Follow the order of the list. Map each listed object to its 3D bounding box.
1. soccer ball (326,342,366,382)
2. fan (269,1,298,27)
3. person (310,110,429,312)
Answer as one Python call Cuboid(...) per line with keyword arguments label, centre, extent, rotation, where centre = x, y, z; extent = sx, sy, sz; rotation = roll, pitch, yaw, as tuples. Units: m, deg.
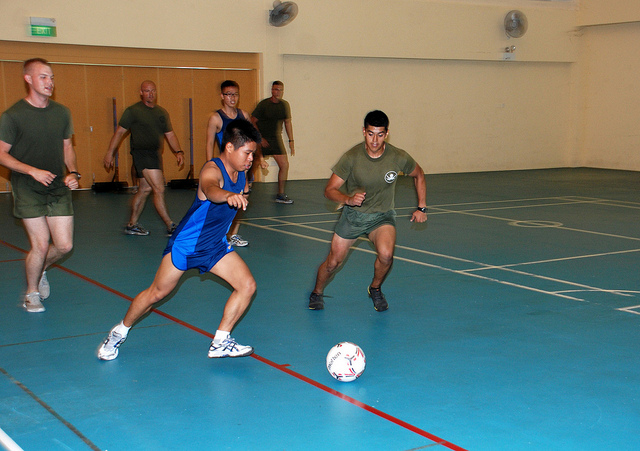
Cuboid(label="soccer ball", centre=(0.193, 1.022, 3.582), extent=(0.285, 0.268, 0.284), rotation=(2, -17, 1))
Cuboid(label="fan", centre=(-1.087, -6.126, 13.988), extent=(0.671, 0.349, 0.671), rotation=(-20, -28, 5))
Cuboid(label="person", centre=(0.546, -0.121, 5.008), extent=(1.112, 2.064, 0.639), rotation=(-6, 16, -34))
